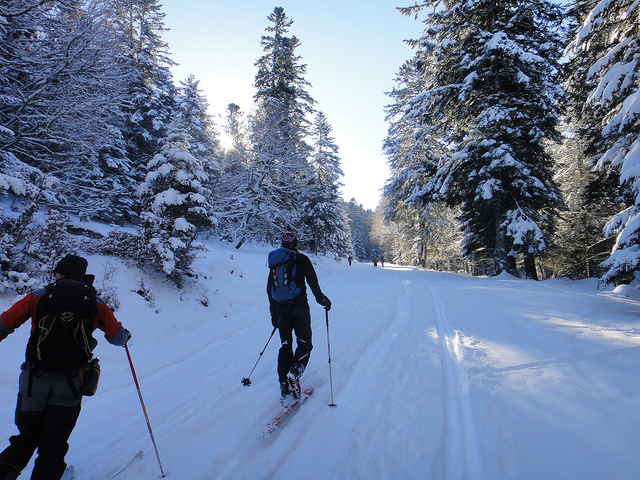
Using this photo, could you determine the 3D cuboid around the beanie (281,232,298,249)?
[{"bbox_3d":[-0.772,-0.006,11.968,0.306,0.422,0.407,8,11,42],"label":"beanie"}]
